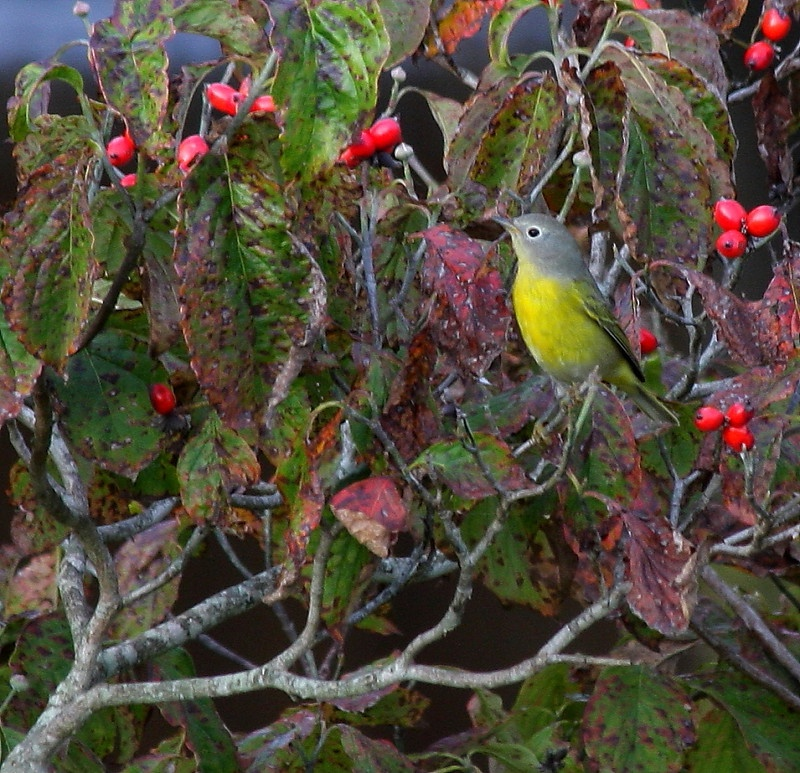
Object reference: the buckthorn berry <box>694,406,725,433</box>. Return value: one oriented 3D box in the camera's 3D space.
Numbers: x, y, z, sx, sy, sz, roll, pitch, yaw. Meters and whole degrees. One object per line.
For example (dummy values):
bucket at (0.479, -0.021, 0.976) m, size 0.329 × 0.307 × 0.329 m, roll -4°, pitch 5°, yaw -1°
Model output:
buckthorn berry at (0.640, 0.065, 3.049) m, size 0.055 × 0.055 × 0.048 m, roll 4°, pitch 2°, yaw -26°

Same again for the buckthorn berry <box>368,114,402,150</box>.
buckthorn berry at (-0.030, -0.532, 3.046) m, size 0.060 × 0.081 × 0.140 m, roll 1°, pitch 29°, yaw 2°

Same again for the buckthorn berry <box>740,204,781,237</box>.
buckthorn berry at (0.804, -0.378, 3.306) m, size 0.078 × 0.069 × 0.060 m, roll -13°, pitch -12°, yaw -30°

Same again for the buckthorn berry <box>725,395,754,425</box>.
buckthorn berry at (0.697, 0.052, 3.013) m, size 0.047 × 0.040 × 0.086 m, roll 17°, pitch 34°, yaw 30°

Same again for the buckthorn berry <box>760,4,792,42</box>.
buckthorn berry at (0.915, -0.881, 3.571) m, size 0.069 × 0.101 × 0.079 m, roll 1°, pitch 30°, yaw 10°

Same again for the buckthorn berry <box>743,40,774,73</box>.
buckthorn berry at (0.874, -0.809, 3.578) m, size 0.056 × 0.067 × 0.084 m, roll 12°, pitch 44°, yaw 19°

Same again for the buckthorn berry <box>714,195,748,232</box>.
buckthorn berry at (0.742, -0.381, 3.278) m, size 0.052 × 0.064 × 0.075 m, roll -17°, pitch -7°, yaw -8°

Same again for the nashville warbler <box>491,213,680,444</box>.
nashville warbler at (0.530, -0.178, 4.063) m, size 0.562 × 0.540 × 0.233 m, roll 7°, pitch -8°, yaw -23°

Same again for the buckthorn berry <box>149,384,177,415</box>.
buckthorn berry at (-0.495, 0.027, 3.111) m, size 0.044 × 0.067 × 0.038 m, roll -29°, pitch 4°, yaw -39°

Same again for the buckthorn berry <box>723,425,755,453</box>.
buckthorn berry at (0.683, 0.103, 2.954) m, size 0.042 × 0.050 × 0.060 m, roll -17°, pitch 23°, yaw -9°

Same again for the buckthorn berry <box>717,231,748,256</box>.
buckthorn berry at (0.734, -0.318, 3.250) m, size 0.046 × 0.050 × 0.062 m, roll 30°, pitch 7°, yaw 3°
